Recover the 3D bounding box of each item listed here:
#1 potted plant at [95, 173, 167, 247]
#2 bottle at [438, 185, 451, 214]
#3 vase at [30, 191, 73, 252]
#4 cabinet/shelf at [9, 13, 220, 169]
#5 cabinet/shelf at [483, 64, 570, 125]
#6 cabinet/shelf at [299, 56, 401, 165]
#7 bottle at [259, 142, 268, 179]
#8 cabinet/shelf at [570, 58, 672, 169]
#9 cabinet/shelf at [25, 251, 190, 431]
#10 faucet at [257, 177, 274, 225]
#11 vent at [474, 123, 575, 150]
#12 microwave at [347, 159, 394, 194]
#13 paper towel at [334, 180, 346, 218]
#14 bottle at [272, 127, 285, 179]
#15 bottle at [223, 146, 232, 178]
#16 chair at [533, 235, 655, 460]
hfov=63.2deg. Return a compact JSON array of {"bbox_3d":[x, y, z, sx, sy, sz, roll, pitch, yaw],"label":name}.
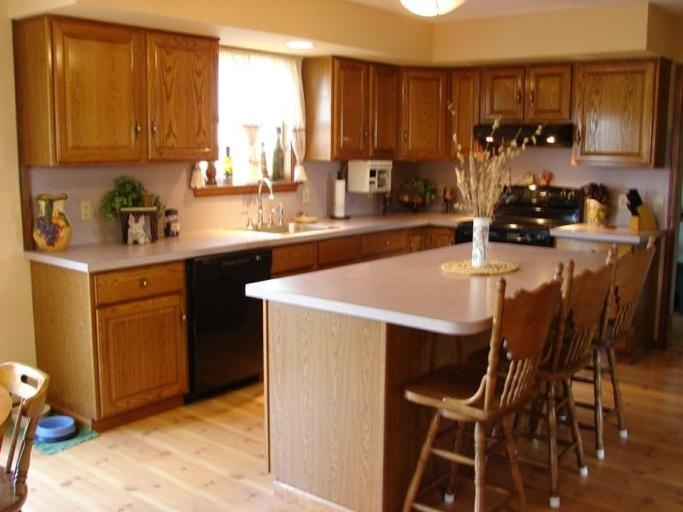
[{"bbox_3d":[-1.512,-0.340,3.968,0.404,0.456,0.290,-4,11,-24],"label":"potted plant"},{"bbox_3d":[1.128,-0.604,5.981,0.156,0.281,0.112,7,13,35],"label":"bottle"},{"bbox_3d":[-1.916,-0.230,3.671,0.202,0.362,0.235,15,14,27],"label":"vase"},{"bbox_3d":[-1.473,-1.103,3.882,0.441,0.886,1.373,13,17,32],"label":"cabinet/shelf"},{"bbox_3d":[1.722,-1.442,5.272,0.837,0.555,0.451,2,-10,14],"label":"cabinet/shelf"},{"bbox_3d":[0.046,-1.354,5.061,0.312,0.779,0.841,6,10,40],"label":"cabinet/shelf"},{"bbox_3d":[-0.673,-0.852,4.919,0.060,0.306,0.138,5,11,26],"label":"bottle"},{"bbox_3d":[2.410,-1.278,4.834,0.705,0.977,0.460,13,32,43],"label":"cabinet/shelf"},{"bbox_3d":[-1.472,0.468,4.142,1.020,1.484,0.946,4,9,25],"label":"cabinet/shelf"},{"bbox_3d":[-0.662,-0.468,4.881,0.155,0.427,0.320,-1,10,-7],"label":"faucet"},{"bbox_3d":[1.682,-1.129,5.147,0.897,0.220,0.364,5,11,22],"label":"vent"},{"bbox_3d":[0.295,-0.806,5.609,0.265,0.349,0.465,4,9,34],"label":"microwave"},{"bbox_3d":[-0.015,-0.539,5.422,0.105,0.315,0.106,12,-7,-38],"label":"paper towel"},{"bbox_3d":[-0.571,-0.930,5.052,0.139,0.466,0.030,-9,14,-43],"label":"bottle"},{"bbox_3d":[-0.945,-0.788,4.656,0.081,0.259,0.061,-5,11,-25],"label":"bottle"},{"bbox_3d":[1.399,0.558,3.390,0.558,1.038,0.703,-3,-2,-43],"label":"chair"}]
